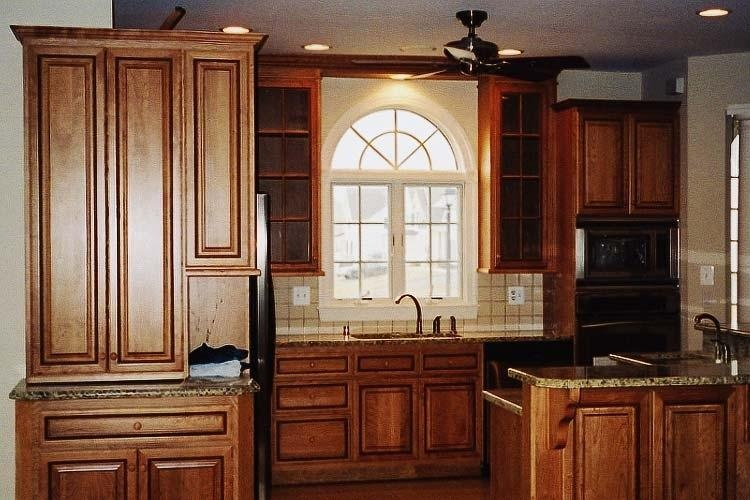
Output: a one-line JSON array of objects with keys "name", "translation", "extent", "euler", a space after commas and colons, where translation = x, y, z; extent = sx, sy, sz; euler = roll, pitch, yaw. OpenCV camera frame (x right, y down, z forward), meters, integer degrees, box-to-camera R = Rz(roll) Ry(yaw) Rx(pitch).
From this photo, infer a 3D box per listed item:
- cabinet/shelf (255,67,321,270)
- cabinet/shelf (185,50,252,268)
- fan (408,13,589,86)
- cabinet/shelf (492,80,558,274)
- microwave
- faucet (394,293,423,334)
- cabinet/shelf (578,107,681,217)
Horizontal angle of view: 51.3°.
[{"name": "cabinet/shelf", "translation": [-0.706, -0.647, 6.485], "extent": [0.514, 1.697, 0.179], "euler": [0, 0, -5]}, {"name": "cabinet/shelf", "translation": [-0.922, -0.581, 4.797], "extent": [0.525, 1.466, 0.176], "euler": [-5, -8, 25]}, {"name": "fan", "translation": [0.635, -1.330, 5.101], "extent": [1.160, 0.348, 1.083], "euler": [3, 6, 27]}, {"name": "cabinet/shelf", "translation": [1.271, -0.617, 6.620], "extent": [0.618, 1.667, 0.256], "euler": [3, 8, 35]}, {"name": "microwave", "translation": [2.001, 0.029, 6.596], "extent": [0.944, 0.479, 0.519], "euler": [0, -2, -12]}, {"name": "faucet", "translation": [0.289, 0.528, 6.612], "extent": [0.224, 0.335, 0.543], "euler": [0, 0, 3]}, {"name": "cabinet/shelf", "translation": [2.036, -0.715, 6.398], "extent": [1.041, 1.021, 0.565], "euler": [1, -2, -4]}]
